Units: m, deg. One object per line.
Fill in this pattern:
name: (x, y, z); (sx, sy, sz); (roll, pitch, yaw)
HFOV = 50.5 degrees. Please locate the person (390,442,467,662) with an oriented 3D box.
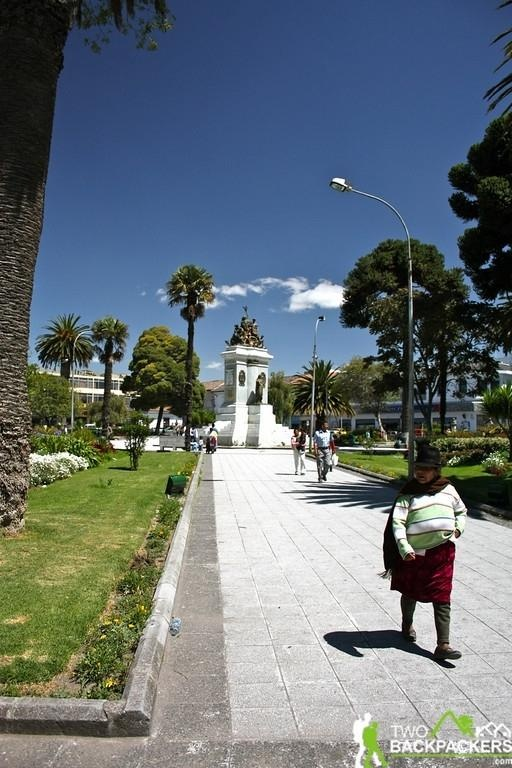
person: (1.325, 1.289, 4.211); (0.579, 1.614, 0.468); (1, -3, -10)

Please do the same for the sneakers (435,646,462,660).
sneakers: (1.418, 2.007, 4.036); (0.213, 0.108, 0.093); (-6, -5, 22)

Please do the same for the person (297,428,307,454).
person: (1.520, 1.942, 18.578); (0.274, 0.771, 0.738); (1, -3, 1)
